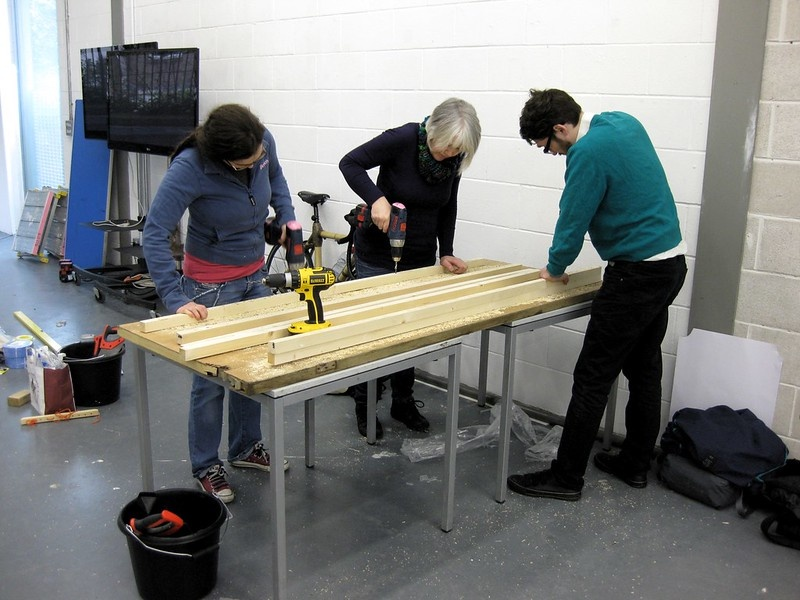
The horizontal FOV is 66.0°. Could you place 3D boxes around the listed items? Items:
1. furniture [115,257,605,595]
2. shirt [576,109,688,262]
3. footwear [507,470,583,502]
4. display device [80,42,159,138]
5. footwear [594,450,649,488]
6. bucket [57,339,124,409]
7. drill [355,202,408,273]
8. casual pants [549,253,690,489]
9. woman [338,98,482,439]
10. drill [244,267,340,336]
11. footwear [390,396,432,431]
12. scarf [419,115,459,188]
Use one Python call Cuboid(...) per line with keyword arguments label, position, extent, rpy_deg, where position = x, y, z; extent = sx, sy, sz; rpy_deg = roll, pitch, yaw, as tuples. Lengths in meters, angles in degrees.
Cuboid(label="furniture", position=(-0.147, 0.475, 2.937), extent=(1.997, 1.063, 0.903), rpy_deg=(-11, 18, -37))
Cuboid(label="shirt", position=(1.063, -0.517, 2.822), extent=(0.357, 0.477, 0.570), rpy_deg=(14, 48, 46))
Cuboid(label="footwear", position=(0.708, 0.918, 3.090), extent=(0.376, 0.162, 0.146), rpy_deg=(7, 0, 12))
Cuboid(label="display device", position=(-2.642, -1.980, 5.849), extent=(0.942, 1.441, 0.142), rpy_deg=(7, 10, 29))
Cuboid(label="footwear", position=(1.155, 0.877, 3.297), extent=(0.118, 0.138, 0.304), rpy_deg=(-15, 26, -32))
Cuboid(label="bucket", position=(-1.918, 0.482, 3.880), extent=(0.369, 0.346, 0.369), rpy_deg=(3, 9, 0))
Cuboid(label="drill", position=(-0.088, -0.333, 3.190), extent=(0.335, 0.349, 0.067), rpy_deg=(9, 24, 38))
Cuboid(label="casual pants", position=(1.082, 0.338, 3.041), extent=(0.512, 1.287, 0.359), rpy_deg=(-5, 19, -22))
Cuboid(label="woman", position=(0.062, -0.129, 3.395), extent=(0.707, 1.948, 0.719), rpy_deg=(7, 16, 14))
Cuboid(label="drill", position=(-0.389, 0.003, 2.404), extent=(0.273, 0.274, 0.124), rpy_deg=(-5, 21, -31))
Cuboid(label="footwear", position=(0.053, 0.654, 3.750), extent=(0.289, 0.198, 0.123), rpy_deg=(16, 23, 36))
Cuboid(label="scarf", position=(0.194, -0.744, 3.149), extent=(0.219, 0.313, 0.159), rpy_deg=(-1, 14, -5))
